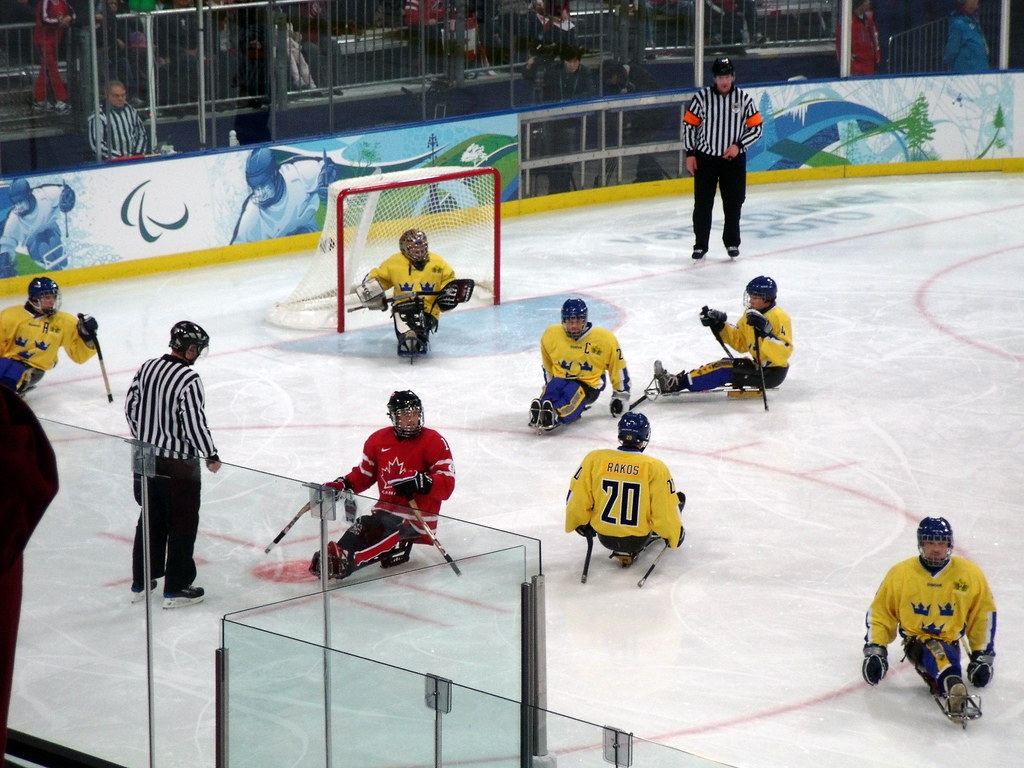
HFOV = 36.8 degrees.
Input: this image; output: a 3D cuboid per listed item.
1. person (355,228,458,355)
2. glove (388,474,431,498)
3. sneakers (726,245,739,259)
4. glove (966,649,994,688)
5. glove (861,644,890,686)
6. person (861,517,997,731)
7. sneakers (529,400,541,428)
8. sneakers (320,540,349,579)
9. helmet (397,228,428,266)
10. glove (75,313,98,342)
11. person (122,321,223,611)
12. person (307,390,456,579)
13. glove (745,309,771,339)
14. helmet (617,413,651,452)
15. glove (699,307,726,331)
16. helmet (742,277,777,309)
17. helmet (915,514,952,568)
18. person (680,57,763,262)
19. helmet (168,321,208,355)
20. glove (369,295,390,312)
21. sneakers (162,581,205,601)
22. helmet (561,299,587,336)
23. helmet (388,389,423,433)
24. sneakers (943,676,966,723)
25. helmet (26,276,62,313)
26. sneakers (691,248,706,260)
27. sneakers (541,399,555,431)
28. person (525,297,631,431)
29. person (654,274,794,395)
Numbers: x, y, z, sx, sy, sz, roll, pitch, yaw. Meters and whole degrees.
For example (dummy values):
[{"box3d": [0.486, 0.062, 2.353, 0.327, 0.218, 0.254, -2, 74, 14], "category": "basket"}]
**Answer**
[{"box3d": [-0.796, -0.687, 12.011, 0.917, 0.895, 1.099, -1, 22, 0], "category": "person"}, {"box3d": [-0.537, 0.530, 7.975, 0.162, 0.058, 0.147, 2, 11, 0], "category": "glove"}, {"box3d": [2.123, -1.263, 14.813, 0.102, 0.099, 0.118, -2, -20, 3], "category": "sneakers"}, {"box3d": [2.070, 1.249, 6.756, 0.131, 0.153, 0.066, 3, 1, 10], "category": "glove"}, {"box3d": [1.605, 1.238, 6.791, 0.139, 0.149, 0.181, -1, 1, 6], "category": "glove"}, {"box3d": [1.815, 1.022, 6.682, 0.542, 0.805, 0.416, 0, 11, 15], "category": "person"}, {"box3d": [0.134, 0.202, 9.905, 0.070, 0.162, 0.073, 5, 7, 25], "category": "sneakers"}, {"box3d": [-0.662, 0.657, 5.723, 0.116, 0.129, 0.123, -1, 52, 5], "category": "sneakers"}, {"box3d": [-0.786, -1.059, 12.083, 0.231, 0.277, 0.238, -2, 10, 2], "category": "helmet"}, {"box3d": [-2.957, -0.398, 10.712, 0.175, 0.181, 0.078, 6, 22, 17], "category": "glove"}, {"box3d": [-1.540, 0.356, 6.926, 0.420, 0.753, 2.066, -5, 9, -13], "category": "person"}, {"box3d": [-0.715, 0.520, 7.826, 0.635, 0.828, 0.869, 8, 11, 33], "category": "person"}, {"box3d": [1.668, -0.395, 10.414, 0.104, 0.234, 0.093, -33, 25, 50], "category": "glove"}, {"box3d": [0.620, 0.251, 7.941, 0.173, 0.183, 0.202, 2, -3, 11], "category": "helmet"}, {"box3d": [1.388, -0.454, 10.596, 0.203, 0.087, 0.145, 22, -17, -18], "category": "glove"}, {"box3d": [1.693, -0.615, 10.461, 0.198, 0.214, 0.244, -1, 10, 7], "category": "helmet"}, {"box3d": [1.873, 0.708, 6.785, 0.133, 0.219, 0.146, 1, 11, 20], "category": "helmet"}, {"box3d": [2.025, -2.134, 14.731, 0.714, 1.869, 0.450, -2, 11, 5], "category": "person"}, {"box3d": [-1.678, -0.238, 8.006, 0.221, 0.173, 0.184, -2, 7, -29], "category": "helmet"}, {"box3d": [-1.072, -0.636, 12.175, 0.159, 0.058, 0.201, 0, -4, -10], "category": "glove"}, {"box3d": [-1.303, 0.822, 6.062, 0.181, 0.068, 0.055, -4, 16, -15], "category": "sneakers"}, {"box3d": [0.406, -0.438, 10.127, 0.195, 0.215, 0.234, -1, 10, 8], "category": "helmet"}, {"box3d": [-0.560, 0.142, 7.992, 0.189, 0.206, 0.224, -9, 10, -19], "category": "helmet"}, {"box3d": [1.899, 1.346, 6.557, 0.093, 0.189, 0.087, -3, 11, 0], "category": "sneakers"}, {"box3d": [-3.228, -0.593, 10.463, 0.202, 0.256, 0.231, -6, 11, -22], "category": "helmet"}, {"box3d": [1.788, -1.236, 14.744, 0.132, 0.136, 0.341, -2, 2, 8], "category": "sneakers"}, {"box3d": [0.229, 0.207, 9.847, 0.082, 0.174, 0.081, -2, -13, 11], "category": "sneakers"}, {"box3d": [0.345, -0.118, 10.087, 0.628, 0.756, 0.846, 7, 11, 28], "category": "person"}, {"box3d": [1.473, -0.323, 10.627, 1.032, 0.778, 0.599, -2, 8, -10], "category": "person"}]
